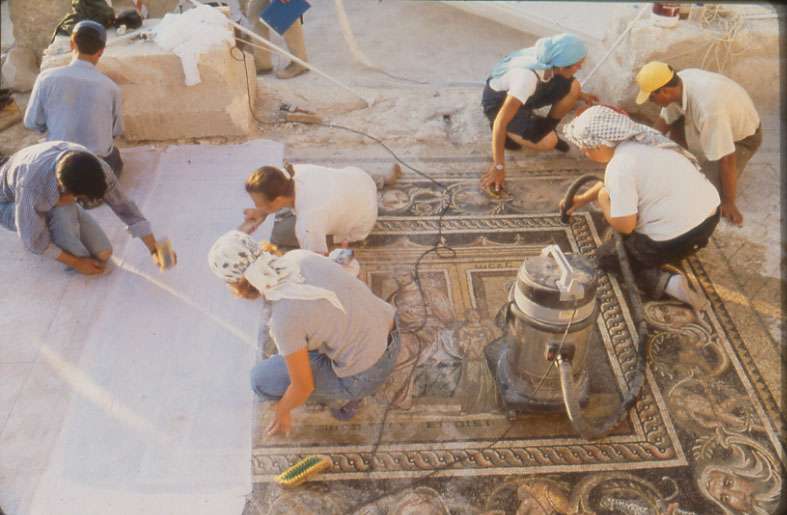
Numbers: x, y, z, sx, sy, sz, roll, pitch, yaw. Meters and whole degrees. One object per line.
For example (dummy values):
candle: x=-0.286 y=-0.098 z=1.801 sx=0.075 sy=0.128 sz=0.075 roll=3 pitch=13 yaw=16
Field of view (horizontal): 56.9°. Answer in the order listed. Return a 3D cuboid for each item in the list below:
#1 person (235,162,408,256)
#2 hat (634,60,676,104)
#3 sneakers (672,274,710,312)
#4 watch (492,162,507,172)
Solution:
person: x=-0.563 y=-0.447 z=5.660 sx=1.046 sy=0.803 sz=0.708 roll=-15 pitch=82 yaw=14
hat: x=2.215 y=-1.467 z=6.164 sx=0.300 sy=0.366 sz=0.285 roll=2 pitch=42 yaw=3
sneakers: x=2.315 y=0.282 z=5.745 sx=0.342 sy=0.203 sz=0.148 roll=39 pitch=24 yaw=3
watch: x=0.944 y=-0.807 z=6.480 sx=0.082 sy=0.053 sz=0.097 roll=0 pitch=54 yaw=3
